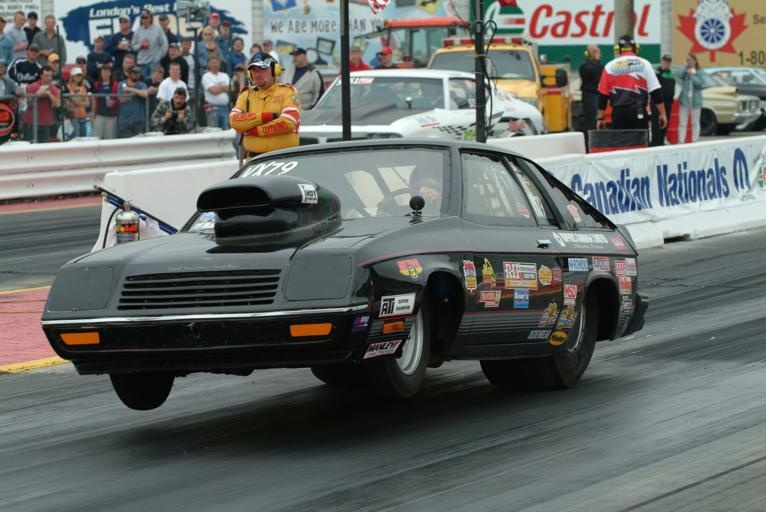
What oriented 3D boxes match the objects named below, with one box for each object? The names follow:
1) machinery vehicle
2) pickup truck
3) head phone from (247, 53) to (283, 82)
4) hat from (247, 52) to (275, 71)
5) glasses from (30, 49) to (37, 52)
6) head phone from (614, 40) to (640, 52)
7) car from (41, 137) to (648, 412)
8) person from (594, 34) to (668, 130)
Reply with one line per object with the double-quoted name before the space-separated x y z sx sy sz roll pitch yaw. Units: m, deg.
"machinery vehicle" 1.189 -7.508 26.116 4.092 1.804 2.833 -3 10 13
"pickup truck" 3.668 -5.194 22.213 3.403 2.074 4.527 0 1 22
"head phone" -1.481 -2.502 9.823 0.420 0.252 0.528 -4 -5 16
"hat" -1.514 -2.482 9.676 0.342 0.223 0.298 -2 6 -7
"glasses" -8.322 -5.000 18.494 0.124 0.028 0.108 3 26 5
"head phone" 5.321 -4.606 16.848 0.390 0.235 0.422 -1 0 4
"car" 0.116 0.100 5.551 2.214 1.250 3.605 -3 -5 39
"person" 5.270 -3.771 16.556 1.306 2.043 0.873 0 7 14
